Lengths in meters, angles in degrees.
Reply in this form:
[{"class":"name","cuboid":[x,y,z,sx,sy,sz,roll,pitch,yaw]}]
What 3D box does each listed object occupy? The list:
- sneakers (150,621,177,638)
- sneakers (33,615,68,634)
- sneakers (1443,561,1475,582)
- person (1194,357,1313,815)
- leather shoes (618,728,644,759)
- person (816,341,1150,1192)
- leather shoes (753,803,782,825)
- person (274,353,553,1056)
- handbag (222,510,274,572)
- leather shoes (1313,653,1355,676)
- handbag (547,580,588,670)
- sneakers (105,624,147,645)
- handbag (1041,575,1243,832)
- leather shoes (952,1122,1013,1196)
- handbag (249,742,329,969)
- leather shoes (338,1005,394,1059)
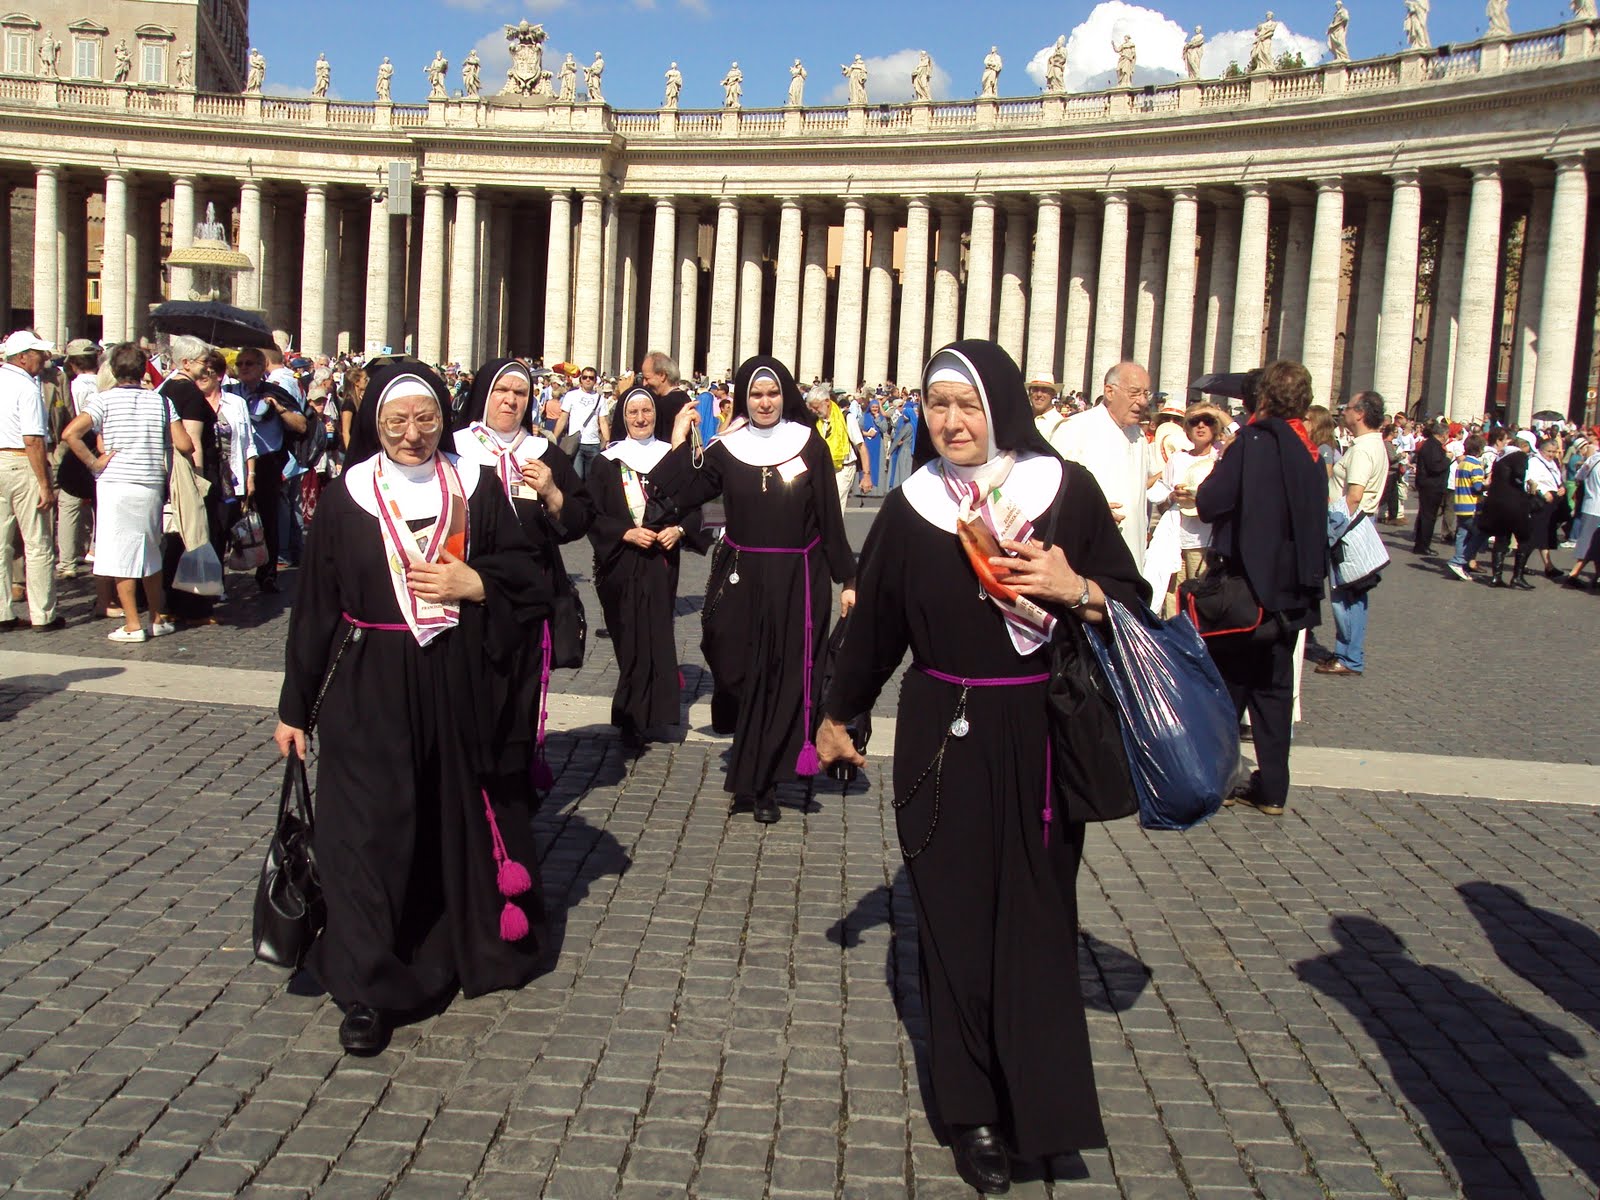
[{"class":"sneakers","cuboid":[-5.169,0.207,12.314,0.171,0.150,0.370,0,10,-15]},{"class":"sneakers","cuboid":[-5.966,0.174,12.138,0.204,0.119,0.313,9,12,32]},{"class":"sneakers","cuboid":[9.160,-0.389,21.081,0.211,0.267,0.644,-6,4,13]},{"class":"person","cuboid":[2.664,-0.148,8.856,0.806,2.495,0.892,0,5,4]},{"class":"leather shoes","cuboid":[-1.047,0.887,9.536,0.153,0.153,0.302,2,10,-5]},{"class":"person","cuboid":[0.691,0.506,5.181,0.780,2.724,1.121,-5,12,-40]},{"class":"leather shoes","cuboid":[-0.174,1.150,8.280,0.146,0.096,0.238,3,10,-1]},{"class":"person","cuboid":[-1.481,0.354,5.839,0.943,2.472,0.913,-2,10,-26]},{"class":"handbag","cuboid":[-4.971,-0.523,13.639,0.275,0.701,0.518,5,8,33]},{"class":"leather shoes","cuboid":[4.677,0.585,13.377,0.133,0.298,0.403,-2,-4,-28]},{"class":"handbag","cuboid":[-1.197,0.150,7.922,0.164,0.486,0.336,5,4,13]},{"class":"sneakers","cuboid":[-5.311,0.281,11.968,0.283,0.122,0.163,3,3,15]},{"class":"handbag","cuboid":[1.182,0.370,4.995,0.496,0.687,0.304,7,11,26]},{"class":"leather shoes","cuboid":[0.595,1.830,4.965,0.196,0.185,0.165,4,10,10]},{"class":"handbag","cuboid":[-1.953,1.061,5.798,0.238,0.929,0.504,-1,10,-19]},{"class":"leather shoes","cuboid":[-1.608,1.583,5.573,0.088,0.118,0.274,1,2,-5]}]
